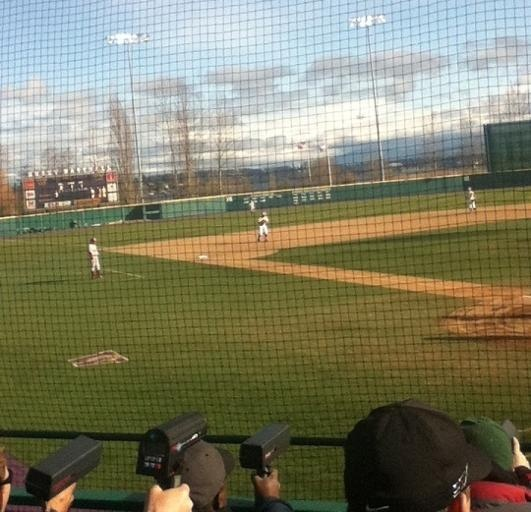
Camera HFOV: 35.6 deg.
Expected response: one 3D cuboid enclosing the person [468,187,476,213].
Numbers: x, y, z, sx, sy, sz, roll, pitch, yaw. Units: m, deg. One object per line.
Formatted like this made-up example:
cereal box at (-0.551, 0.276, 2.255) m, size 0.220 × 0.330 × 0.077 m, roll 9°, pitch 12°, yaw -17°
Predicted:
person at (6.419, -1.731, 25.800) m, size 0.231 × 0.778 × 1.186 m, roll -7°, pitch 5°, yaw 14°
